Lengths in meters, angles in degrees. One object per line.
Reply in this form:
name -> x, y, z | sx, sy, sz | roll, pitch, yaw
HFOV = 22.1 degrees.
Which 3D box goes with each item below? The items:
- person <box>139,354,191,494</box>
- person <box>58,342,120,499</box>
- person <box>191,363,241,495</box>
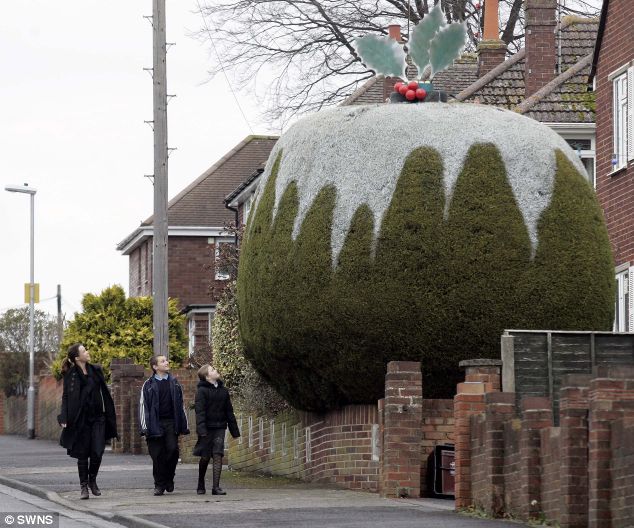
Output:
person -> -2.195, 2.330, 23.419 | 0.661, 1.947, 0.605 | -1, 0, -7
person -> -3.255, 2.226, 23.010 | 0.803, 2.087, 0.613 | -1, 0, -9
person -> -1.477, 2.428, 23.829 | 0.636, 1.839, 0.960 | -1, 0, -4
